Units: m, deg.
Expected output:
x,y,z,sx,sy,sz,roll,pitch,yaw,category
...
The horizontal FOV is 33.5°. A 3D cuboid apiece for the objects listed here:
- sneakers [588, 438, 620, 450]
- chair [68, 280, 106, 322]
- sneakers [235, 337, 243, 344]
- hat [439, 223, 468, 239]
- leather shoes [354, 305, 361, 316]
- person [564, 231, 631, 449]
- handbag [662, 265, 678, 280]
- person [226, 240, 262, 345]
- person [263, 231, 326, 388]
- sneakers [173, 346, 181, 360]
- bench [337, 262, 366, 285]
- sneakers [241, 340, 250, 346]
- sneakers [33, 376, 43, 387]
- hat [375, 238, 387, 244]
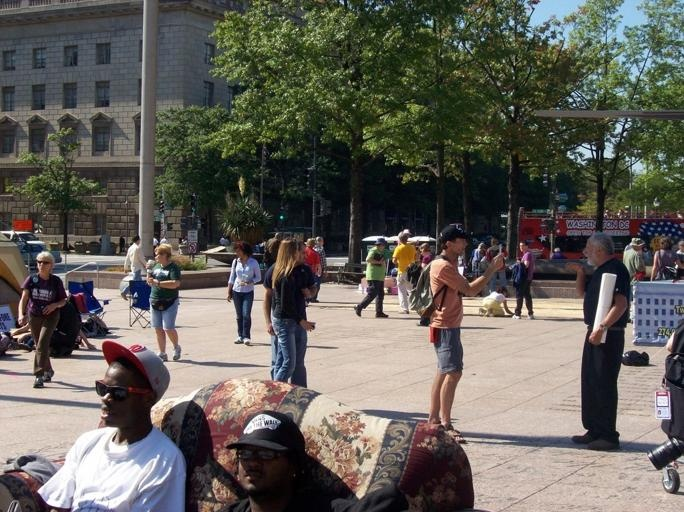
x,y,z,sx,sy,sz,roll,pitch,yaw,category
4.701,3.364,20.244,0.478,0.213,0.219,5,-3,-3,sneakers
-6.472,1.092,28.729,0.931,0.885,2.169,0,1,-14,chair
-2.532,2.030,27.461,0.246,0.110,0.100,0,-3,31,sneakers
2.038,-0.450,20.622,0.408,0.223,0.284,-14,10,-16,hat
0.471,1.550,31.679,0.145,0.355,0.126,-16,35,6,leather shoes
4.696,1.517,20.376,0.898,3.874,0.486,1,2,13,person
9.145,0.434,31.433,0.439,0.380,1.410,1,1,16,handbag
-2.369,0.885,27.619,0.696,2.453,0.985,0,2,-11,person
-1.035,1.078,21.914,0.802,2.826,1.180,0,2,-24,person
-3.685,2.138,25.232,0.119,0.368,0.154,-1,-15,2,sneakers
0.511,0.710,43.482,0.869,0.862,0.206,-5,-15,26,bench
-2.287,2.049,27.301,0.181,0.155,0.316,0,1,-8,sneakers
-6.216,2.555,23.158,0.182,0.186,0.433,0,-7,-11,sneakers
1.065,-0.423,31.761,0.223,0.121,0.171,6,7,10,hat
